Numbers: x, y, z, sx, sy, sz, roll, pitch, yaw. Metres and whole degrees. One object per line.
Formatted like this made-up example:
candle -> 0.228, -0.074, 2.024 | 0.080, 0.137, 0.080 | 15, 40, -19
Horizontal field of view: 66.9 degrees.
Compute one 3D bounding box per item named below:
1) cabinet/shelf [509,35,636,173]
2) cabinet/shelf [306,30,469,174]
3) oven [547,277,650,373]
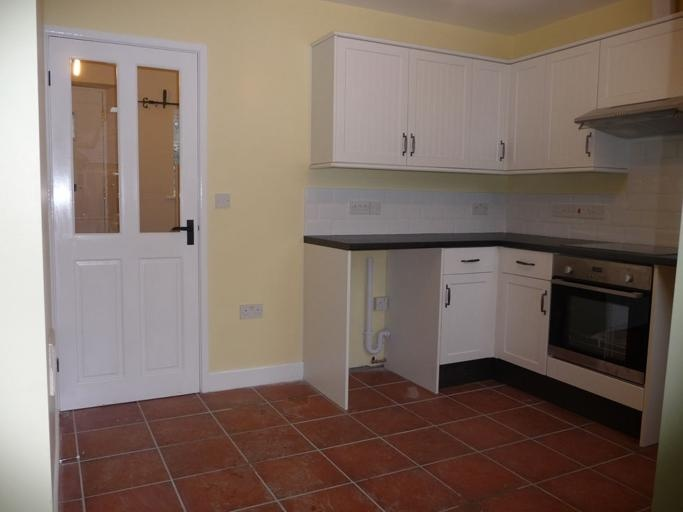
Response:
cabinet/shelf -> 1.698, -1.071, 3.720 | 0.400, 1.021, 1.052 | 0, 3, -32
cabinet/shelf -> 0.297, -1.102, 3.751 | 1.035, 0.964, 0.403 | -1, 2, -26
oven -> 1.795, 0.457, 3.380 | 0.494, 0.573, 0.762 | -1, 4, -23
